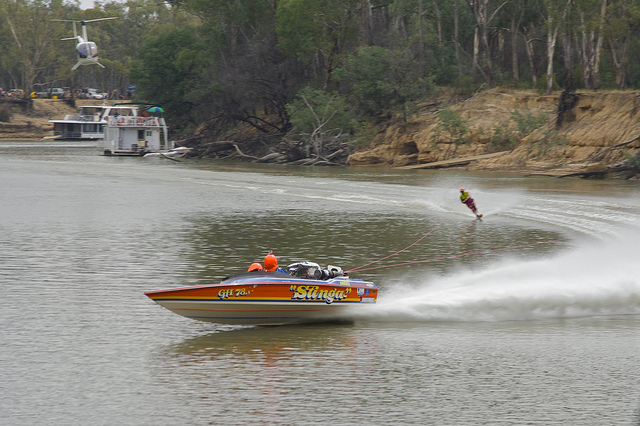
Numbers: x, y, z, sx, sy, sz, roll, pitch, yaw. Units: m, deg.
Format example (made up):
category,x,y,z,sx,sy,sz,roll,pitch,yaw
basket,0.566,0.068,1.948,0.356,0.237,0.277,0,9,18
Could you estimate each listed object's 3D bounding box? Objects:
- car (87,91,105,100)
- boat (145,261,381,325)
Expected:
category,x,y,z,sx,sy,sz,roll,pitch,yaw
car,-41.126,-21.348,155.786,2.324,0.546,2.857,0,1,-23
boat,-1.718,2.800,28.454,8.821,1.185,2.150,0,-2,-12
